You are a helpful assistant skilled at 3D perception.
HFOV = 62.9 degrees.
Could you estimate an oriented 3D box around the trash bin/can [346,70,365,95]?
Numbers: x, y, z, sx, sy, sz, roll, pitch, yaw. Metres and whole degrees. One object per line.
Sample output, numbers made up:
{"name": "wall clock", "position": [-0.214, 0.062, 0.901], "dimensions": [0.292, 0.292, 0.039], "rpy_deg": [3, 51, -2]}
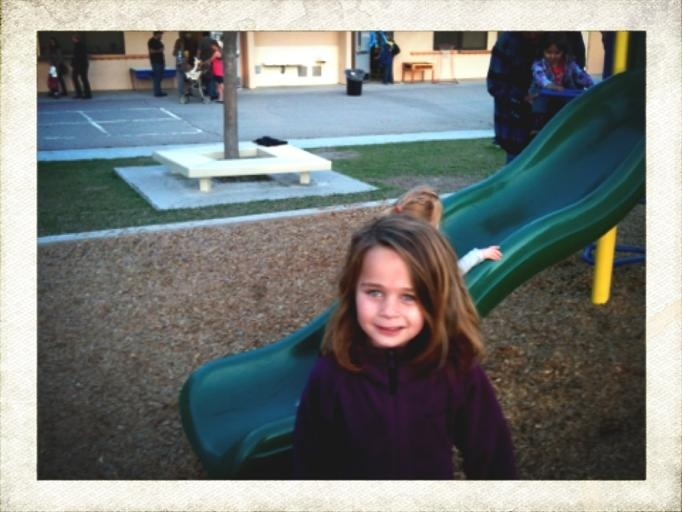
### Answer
{"name": "trash bin/can", "position": [0.448, -5.964, 19.207], "dimensions": [0.875, 0.900, 0.840], "rpy_deg": [-2, 23, -5]}

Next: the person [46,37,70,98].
{"name": "person", "position": [-9.581, -6.455, 18.931], "dimensions": [0.508, 1.870, 1.561], "rpy_deg": [-3, 8, -22]}

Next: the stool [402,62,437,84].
{"name": "stool", "position": [3.233, -7.862, 23.580], "dimensions": [1.571, 1.056, 1.059], "rpy_deg": [-5, 28, -6]}

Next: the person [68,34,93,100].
{"name": "person", "position": [-8.681, -6.341, 18.586], "dimensions": [0.540, 2.177, 0.892], "rpy_deg": [-3, 8, -24]}

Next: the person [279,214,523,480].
{"name": "person", "position": [0.228, 0.358, 2.032], "dimensions": [0.795, 0.999, 0.228], "rpy_deg": [-1, 7, -6]}
